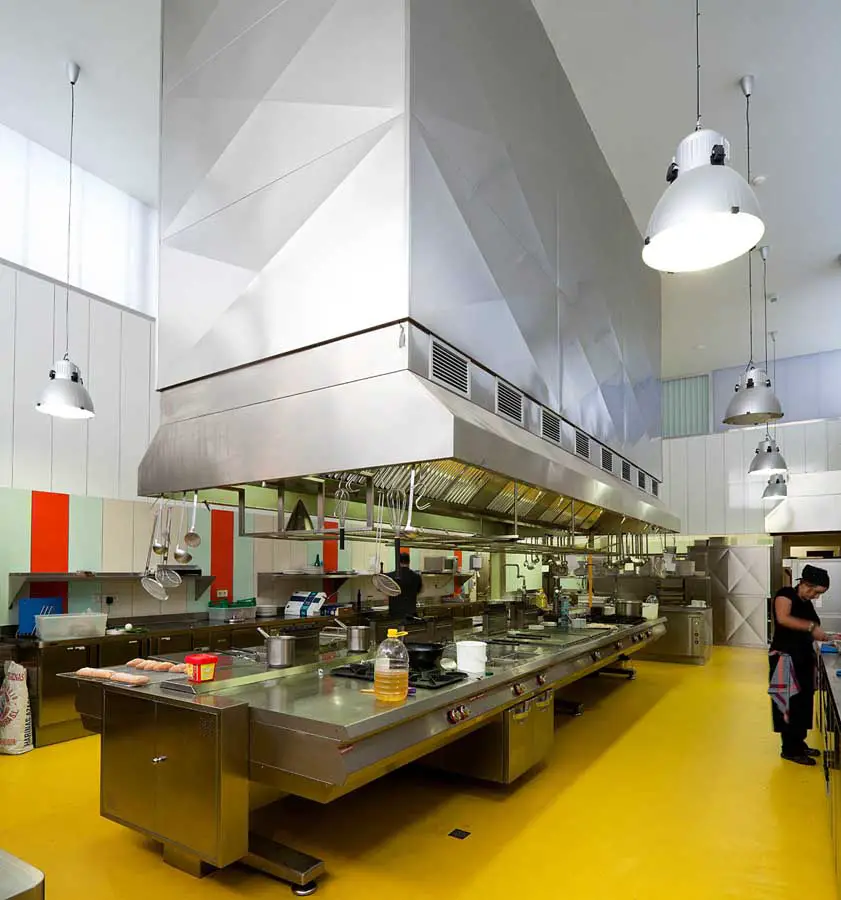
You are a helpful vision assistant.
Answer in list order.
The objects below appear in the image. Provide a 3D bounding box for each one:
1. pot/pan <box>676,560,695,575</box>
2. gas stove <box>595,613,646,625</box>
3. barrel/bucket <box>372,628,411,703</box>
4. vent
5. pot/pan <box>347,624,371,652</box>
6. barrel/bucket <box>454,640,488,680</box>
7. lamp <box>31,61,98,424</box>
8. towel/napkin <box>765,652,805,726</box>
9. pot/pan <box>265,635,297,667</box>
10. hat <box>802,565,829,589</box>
[{"bbox_3d":[3.483,1.587,10.039,0.243,0.195,0.203,-5,-9,43],"label":"pot/pan"},{"bbox_3d":[1.993,1.727,7.593,0.234,0.059,0.238,-3,-6,41],"label":"gas stove"},{"bbox_3d":[-0.118,0.947,3.312,0.200,0.436,0.224,0,-5,-5],"label":"barrel/bucket"},{"bbox_3d":[-0.047,-0.048,3.952,1.594,0.628,2.145,-3,-8,31],"label":"vent"},{"bbox_3d":[-0.342,1.071,4.261,0.116,0.142,0.131,-1,-6,8],"label":"pot/pan"},{"bbox_3d":[0.248,1.067,3.797,0.163,0.141,0.114,-1,-7,38],"label":"barrel/bucket"},{"bbox_3d":[-2.183,-1.332,4.718,0.325,2.120,0.329,6,8,5],"label":"lamp"},{"bbox_3d":[2.424,1.605,5.043,0.171,0.470,0.358,-2,-7,27],"label":"towel/napkin"},{"bbox_3d":[-0.701,1.018,3.786,0.135,0.150,0.164,2,-7,-13],"label":"pot/pan"},{"bbox_3d":[2.753,0.894,5.299,0.183,0.089,0.234,4,-1,-3],"label":"hat"}]
